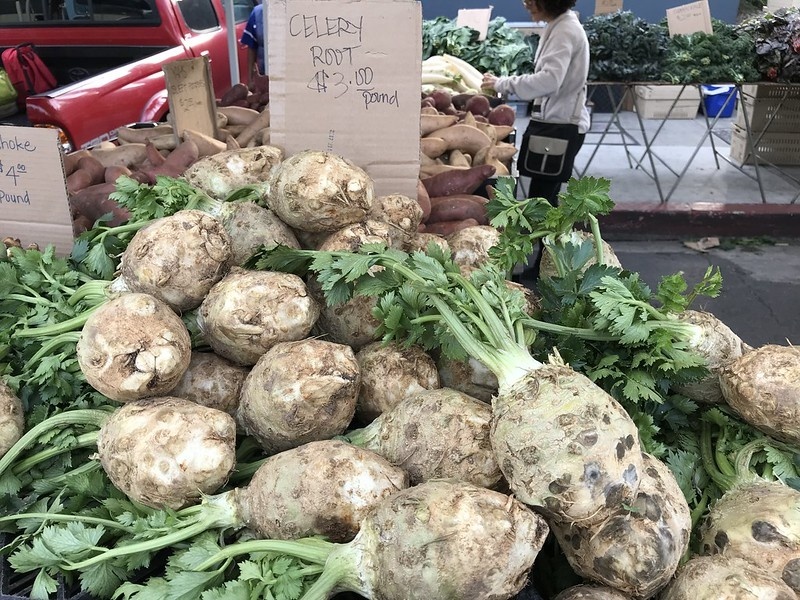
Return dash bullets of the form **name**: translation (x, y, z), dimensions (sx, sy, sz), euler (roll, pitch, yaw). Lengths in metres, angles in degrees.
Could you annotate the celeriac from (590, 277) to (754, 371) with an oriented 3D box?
- **celeriac**: translation (0.969, 0.102, 2.259), dimensions (0.534, 0.163, 0.309), euler (18, 34, 10)
